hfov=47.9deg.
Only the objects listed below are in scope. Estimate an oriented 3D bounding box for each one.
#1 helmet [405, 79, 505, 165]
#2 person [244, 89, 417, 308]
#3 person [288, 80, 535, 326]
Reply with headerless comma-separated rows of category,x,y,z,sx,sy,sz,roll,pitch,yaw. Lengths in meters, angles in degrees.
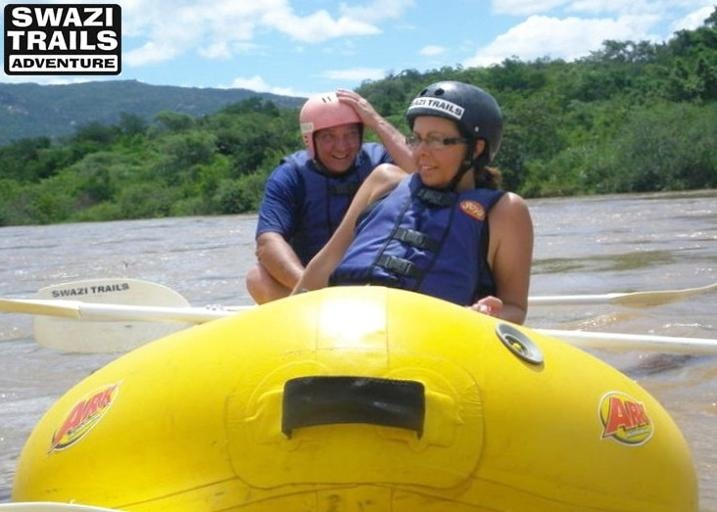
helmet,0.406,-0.542,3.210,0.308,0.297,0.409,12,13,39
person,-0.190,-0.287,4.401,1.064,1.119,0.775,-13,20,-31
person,0.202,-0.142,3.078,0.912,1.066,0.651,10,0,16
